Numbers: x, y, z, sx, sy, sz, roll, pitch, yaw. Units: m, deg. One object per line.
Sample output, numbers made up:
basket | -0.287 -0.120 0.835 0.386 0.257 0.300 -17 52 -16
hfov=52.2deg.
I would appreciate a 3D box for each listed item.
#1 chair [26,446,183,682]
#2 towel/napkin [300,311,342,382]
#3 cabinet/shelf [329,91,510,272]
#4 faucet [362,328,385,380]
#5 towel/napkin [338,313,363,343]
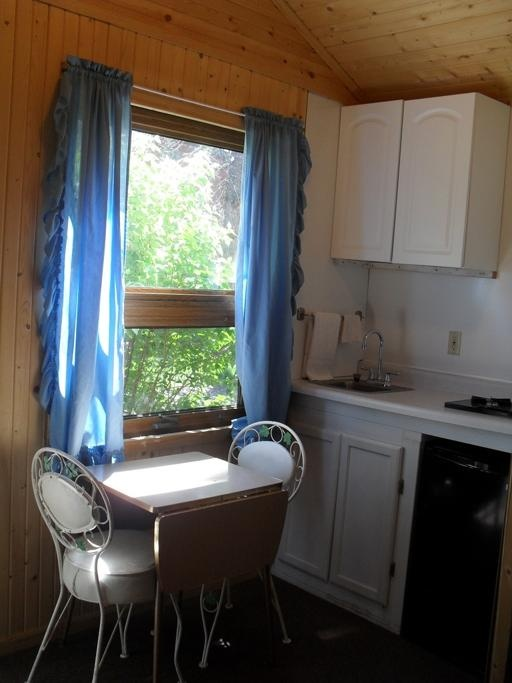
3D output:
chair | -0.510 0.712 1.668 0.406 0.565 0.645 4 -3 -26
towel/napkin | 0.349 0.035 2.779 0.192 0.360 0.100 4 -3 -32
cabinet/shelf | 0.790 -0.758 2.438 0.376 0.904 0.753 -1 4 -40
faucet | 0.653 0.071 2.896 0.125 0.297 0.433 2 -3 12
towel/napkin | 0.514 -0.070 2.865 0.019 0.150 0.132 4 7 44
